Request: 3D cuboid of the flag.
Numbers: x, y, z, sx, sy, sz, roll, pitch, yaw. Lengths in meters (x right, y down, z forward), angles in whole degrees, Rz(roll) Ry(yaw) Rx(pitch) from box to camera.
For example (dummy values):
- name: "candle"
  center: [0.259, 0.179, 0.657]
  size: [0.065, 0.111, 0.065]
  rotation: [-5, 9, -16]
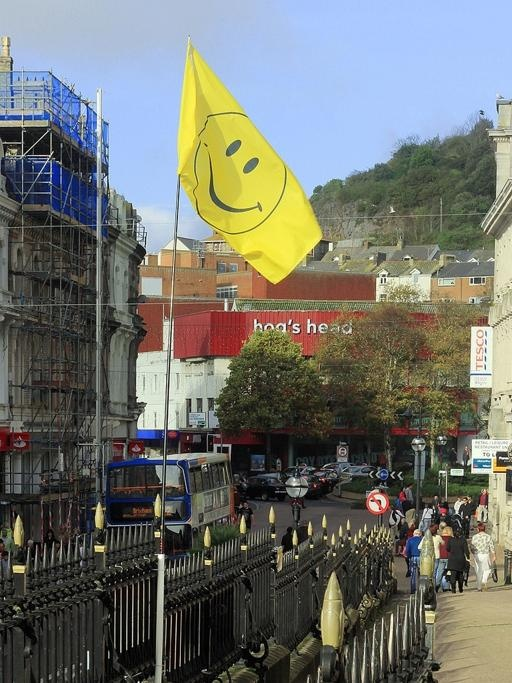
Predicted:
- name: "flag"
  center: [-0.171, -1.872, 15.005]
  size: [0.988, 2.358, 2.107]
  rotation: [-4, -7, 30]

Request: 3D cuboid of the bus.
- name: "bus"
  center: [-1.888, 3.355, 29.320]
  size: [1.404, 2.349, 4.933]
  rotation: [-1, -5, 8]
